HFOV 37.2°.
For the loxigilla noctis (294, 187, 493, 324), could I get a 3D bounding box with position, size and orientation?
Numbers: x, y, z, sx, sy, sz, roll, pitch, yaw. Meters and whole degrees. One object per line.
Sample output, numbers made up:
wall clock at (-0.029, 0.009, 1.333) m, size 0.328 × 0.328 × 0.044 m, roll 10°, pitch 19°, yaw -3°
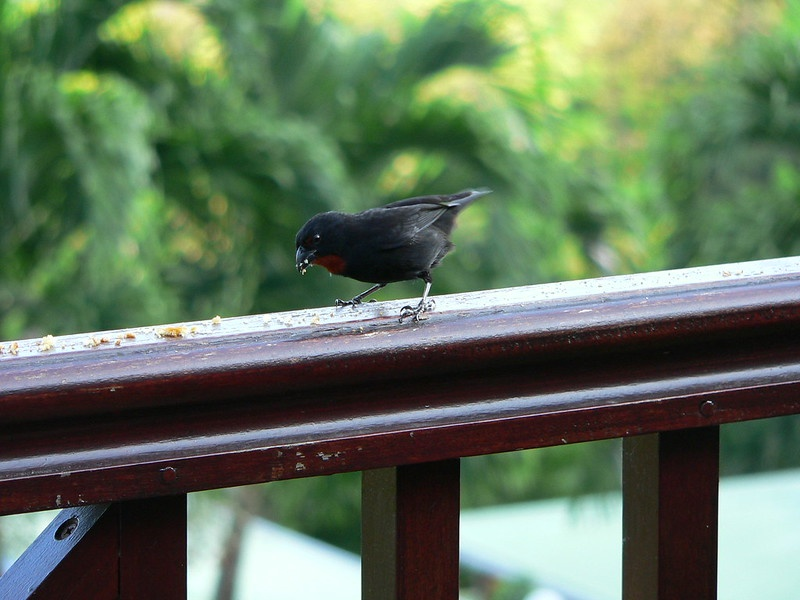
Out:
loxigilla noctis at (-0.008, -0.192, 4.089) m, size 0.281 × 0.288 × 0.675 m, roll 13°, pitch 20°, yaw 41°
